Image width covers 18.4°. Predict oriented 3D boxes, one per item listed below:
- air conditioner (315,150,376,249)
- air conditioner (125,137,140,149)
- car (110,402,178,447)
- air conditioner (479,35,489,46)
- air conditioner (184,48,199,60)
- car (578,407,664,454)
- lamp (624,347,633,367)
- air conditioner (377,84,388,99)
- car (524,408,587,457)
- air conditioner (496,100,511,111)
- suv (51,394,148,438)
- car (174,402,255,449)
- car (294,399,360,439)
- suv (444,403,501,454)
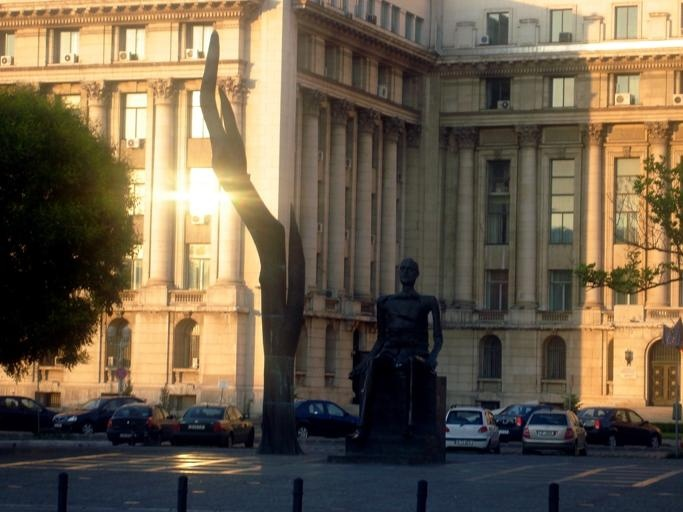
[{"bbox_3d":[0.397,-3.193,117.367,1.115,7.002,3.718,-2,-6,27],"label":"air conditioner"},{"bbox_3d":[-11.184,-6.024,113.811,0.793,0.542,0.321,0,-5,-4],"label":"air conditioner"},{"bbox_3d":[-8.924,7.429,94.072,1.328,1.794,3.279,-4,-7,39],"label":"car"},{"bbox_3d":[8.346,-12.456,123.236,0.649,0.846,0.447,-1,-18,10],"label":"air conditioner"},{"bbox_3d":[-7.934,-10.696,112.714,0.760,0.572,0.196,0,-5,3],"label":"air conditioner"},{"bbox_3d":[13.151,8.093,99.811,4.754,1.843,2.234,6,-4,-39],"label":"car"},{"bbox_3d":[15.989,5.598,117.470,0.534,0.955,0.176,-1,-5,16],"label":"lamp"},{"bbox_3d":[2.385,-9.346,120.540,0.625,0.915,0.651,4,-11,-35],"label":"air conditioner"},{"bbox_3d":[9.213,7.611,91.836,2.690,1.944,1.652,0,-5,-1],"label":"car"},{"bbox_3d":[9.374,-8.697,122.225,0.824,0.494,0.620,1,0,8],"label":"air conditioner"},{"bbox_3d":[-11.282,7.525,99.899,4.926,2.001,2.043,3,-3,-43],"label":"suv"},{"bbox_3d":[-5.579,7.601,94.316,2.474,2.115,6.048,1,-2,17],"label":"car"},{"bbox_3d":[-0.835,7.841,100.001,4.574,2.175,2.265,3,-8,-29],"label":"car"},{"bbox_3d":[5.659,7.506,92.092,1.691,1.962,2.932,-4,-6,35],"label":"suv"}]
